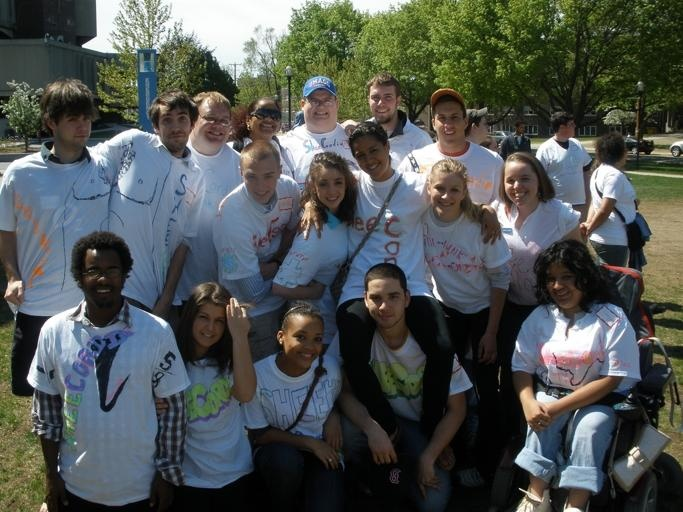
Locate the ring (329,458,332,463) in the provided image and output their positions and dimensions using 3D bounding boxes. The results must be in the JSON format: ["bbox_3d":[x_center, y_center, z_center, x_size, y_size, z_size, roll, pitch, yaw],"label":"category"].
[{"bbox_3d":[-0.083,1.656,5.469,0.026,0.038,0.021,-7,0,-7],"label":"ring"}]

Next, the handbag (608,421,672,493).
[{"bbox_3d":[2.305,1.513,5.269,0.222,0.484,0.113,37,9,-9],"label":"handbag"}]

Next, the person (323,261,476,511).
[{"bbox_3d":[0.515,1.106,5.720,1.087,2.026,0.566,0,11,8],"label":"person"}]

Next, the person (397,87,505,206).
[{"bbox_3d":[1.160,-0.882,6.843,1.144,1.516,0.793,-3,0,2],"label":"person"}]

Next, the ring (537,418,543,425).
[{"bbox_3d":[1.583,1.305,5.334,0.044,0.046,0.012,-4,-12,30],"label":"ring"}]
